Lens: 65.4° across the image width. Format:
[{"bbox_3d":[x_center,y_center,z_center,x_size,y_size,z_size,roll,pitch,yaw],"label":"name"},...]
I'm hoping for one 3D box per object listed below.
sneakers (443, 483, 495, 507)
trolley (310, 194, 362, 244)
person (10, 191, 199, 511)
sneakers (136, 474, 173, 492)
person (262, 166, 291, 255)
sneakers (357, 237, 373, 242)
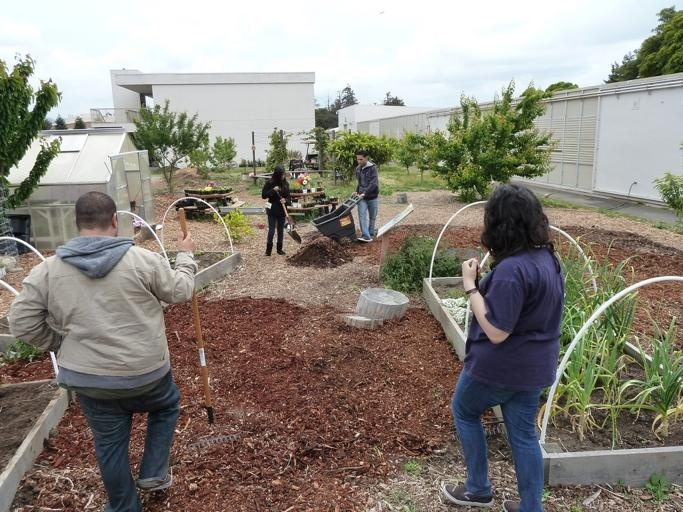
[{"bbox_3d":[0.916,1.693,3.752,0.324,0.148,0.141,9,12,11],"label":"sneakers"},{"bbox_3d":[0.041,-0.652,10.230,1.200,0.820,0.583,-20,8,-12],"label":"trolley"},{"bbox_3d":[-1.544,0.807,3.606,1.150,1.901,0.458,-6,14,-18],"label":"person"},{"bbox_3d":[-1.363,1.633,3.854,0.257,0.119,0.099,-5,17,-31],"label":"sneakers"},{"bbox_3d":[-1.249,-0.882,10.114,0.521,1.617,1.015,-3,13,-6],"label":"person"},{"bbox_3d":[0.480,-0.331,10.538,0.289,0.133,0.108,7,4,-1],"label":"sneakers"}]
